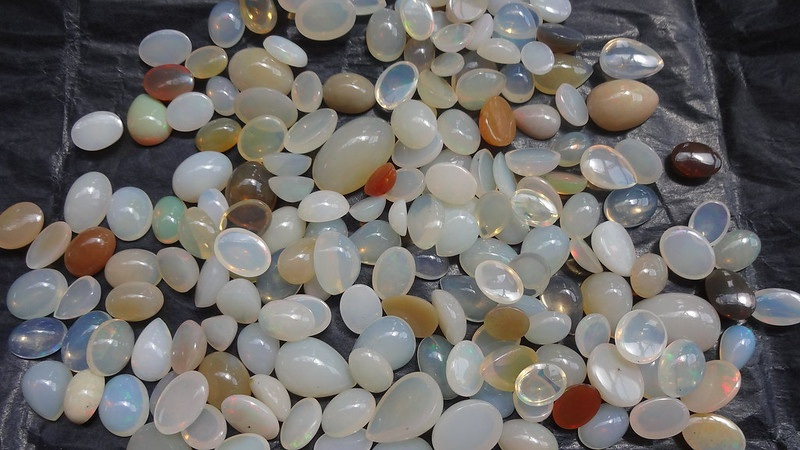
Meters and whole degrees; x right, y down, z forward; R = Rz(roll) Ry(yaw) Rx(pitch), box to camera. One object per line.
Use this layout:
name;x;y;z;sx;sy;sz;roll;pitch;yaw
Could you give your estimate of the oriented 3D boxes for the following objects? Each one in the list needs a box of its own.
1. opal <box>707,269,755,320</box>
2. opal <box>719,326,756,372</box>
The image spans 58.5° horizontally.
opal;0.970;0.204;2.151;0.116;0.081;0.147;-15;63;-13
opal;0.980;0.356;2.127;0.090;0.087;0.125;26;79;10
